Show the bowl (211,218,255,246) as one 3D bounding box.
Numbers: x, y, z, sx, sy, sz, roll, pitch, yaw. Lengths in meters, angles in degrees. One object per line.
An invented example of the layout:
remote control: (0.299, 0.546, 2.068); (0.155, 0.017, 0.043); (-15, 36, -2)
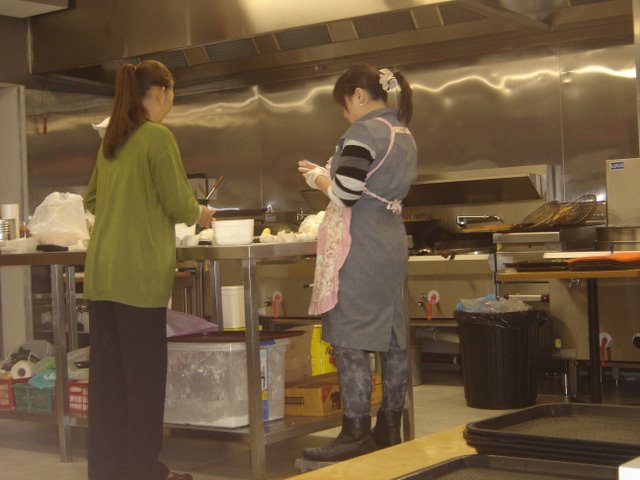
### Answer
bowl: (-0.401, -0.035, 3.070); (0.187, 0.134, 0.199); (-1, -4, 0)

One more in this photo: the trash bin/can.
trash bin/can: (1.211, 0.788, 4.719); (0.610, 0.584, 0.662); (-1, 0, -10)

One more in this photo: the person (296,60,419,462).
person: (0.223, 0.095, 3.081); (0.505, 1.809, 0.410); (1, -5, -31)

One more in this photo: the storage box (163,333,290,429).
storage box: (-0.476, 0.693, 3.379); (0.557, 0.364, 0.404); (-1, -3, 34)

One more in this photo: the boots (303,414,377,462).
boots: (0.114, 0.914, 3.097); (0.406, 0.265, 0.147); (0, -4, 0)

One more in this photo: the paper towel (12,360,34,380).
paper towel: (-1.809, 0.784, 4.039); (0.120, 0.099, 0.210); (1, -5, -34)
